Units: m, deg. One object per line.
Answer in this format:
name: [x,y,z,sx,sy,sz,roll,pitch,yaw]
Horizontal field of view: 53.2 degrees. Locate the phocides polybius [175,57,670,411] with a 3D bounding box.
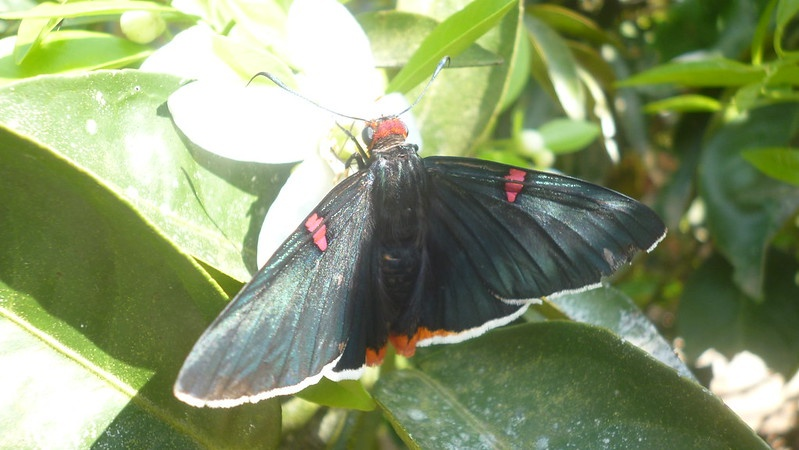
phocides polybius: [-0.002,0.015,1.032,0.642,0.270,0.260,-23,46,-10]
